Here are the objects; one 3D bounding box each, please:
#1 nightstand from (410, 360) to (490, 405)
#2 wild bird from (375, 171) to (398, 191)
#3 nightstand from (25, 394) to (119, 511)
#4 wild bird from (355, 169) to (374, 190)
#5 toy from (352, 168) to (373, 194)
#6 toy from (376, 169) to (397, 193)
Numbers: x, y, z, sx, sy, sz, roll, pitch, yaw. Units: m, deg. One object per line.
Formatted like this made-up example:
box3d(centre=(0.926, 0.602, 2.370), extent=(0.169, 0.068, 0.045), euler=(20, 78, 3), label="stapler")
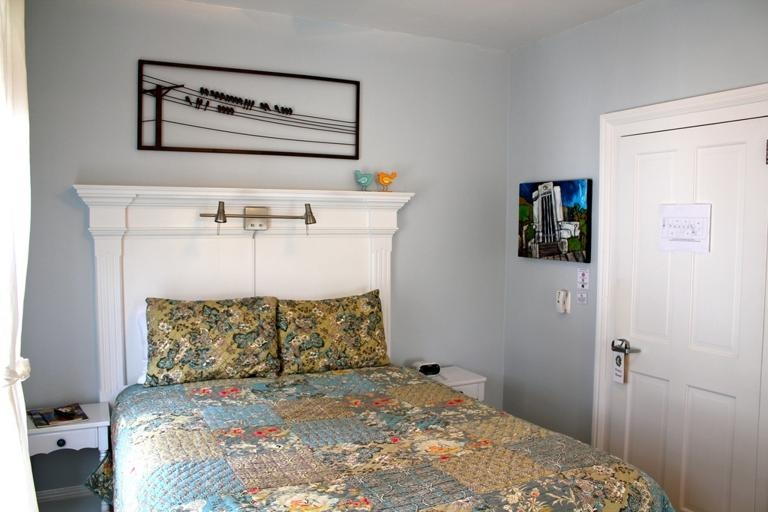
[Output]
box3d(centre=(0.565, 0.963, 4.145), extent=(0.440, 0.255, 0.431), euler=(0, -1, -30), label="nightstand")
box3d(centre=(0.009, -0.595, 3.978), extent=(0.209, 0.176, 0.122), euler=(4, -2, -30), label="wild bird")
box3d(centre=(-1.996, 1.146, 3.196), extent=(0.454, 0.287, 0.370), euler=(-5, 12, -29), label="nightstand")
box3d(centre=(-0.152, -0.601, 3.972), extent=(0.201, 0.190, 0.112), euler=(2, -11, 2), label="wild bird")
box3d(centre=(-0.169, -0.595, 4.018), extent=(0.179, 0.181, 0.143), euler=(2, -21, 2), label="toy")
box3d(centre=(0.005, -0.594, 3.974), extent=(0.219, 0.201, 0.130), euler=(1, -2, -3), label="toy")
